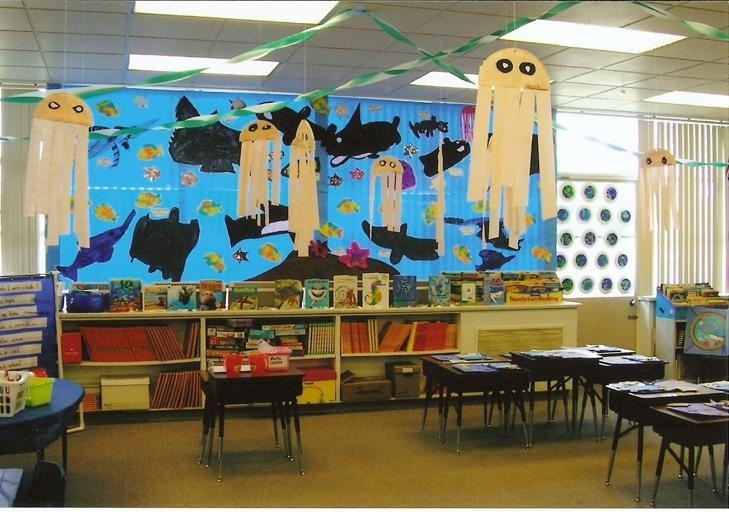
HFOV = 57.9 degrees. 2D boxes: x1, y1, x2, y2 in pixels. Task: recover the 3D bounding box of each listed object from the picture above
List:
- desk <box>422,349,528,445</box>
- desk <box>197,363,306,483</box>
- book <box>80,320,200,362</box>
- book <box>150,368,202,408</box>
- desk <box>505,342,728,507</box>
[{"bbox_3d":[1.201,1.394,7.363,1.270,0.870,0.959,2,-3,-23],"label":"desk"},{"bbox_3d":[-1.086,1.610,6.559,0.709,0.718,0.792,0,-11,-15],"label":"desk"},{"bbox_3d":[-2.646,1.021,7.826,1.337,0.432,0.255,0,9,-10],"label":"book"},{"bbox_3d":[-2.236,1.584,7.850,0.588,0.449,0.233,-1,9,-12],"label":"book"},{"bbox_3d":[2.592,1.792,6.966,1.332,0.754,1.664,-1,2,-20],"label":"desk"}]
